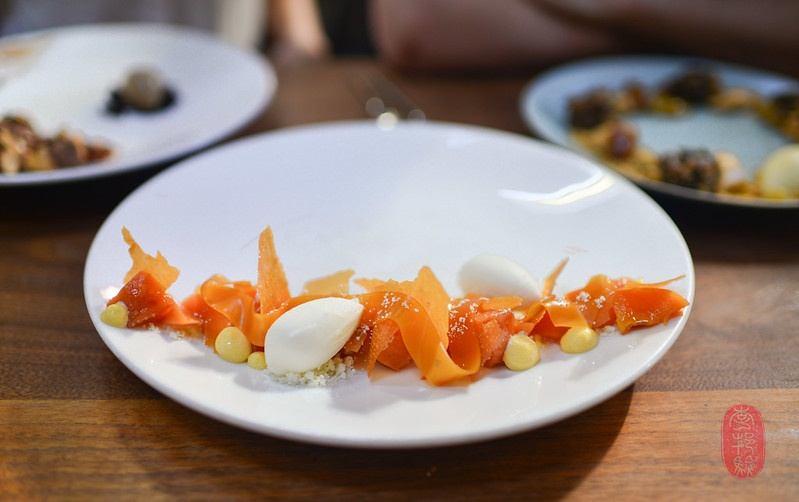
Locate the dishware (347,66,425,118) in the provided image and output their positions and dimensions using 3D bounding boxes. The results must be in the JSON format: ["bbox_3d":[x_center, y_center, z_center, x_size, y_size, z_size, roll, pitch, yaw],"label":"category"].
[{"bbox_3d":[-0.024,-0.271,1.318,0.047,0.006,0.126,-29,39,-15],"label":"dishware"}]
